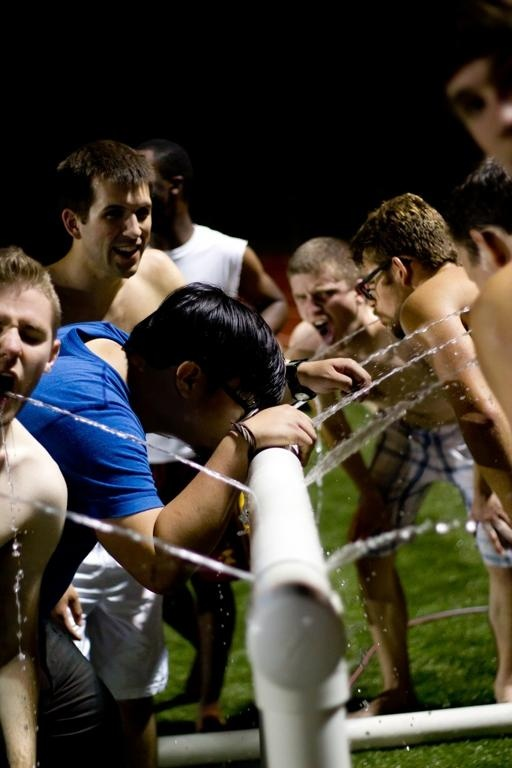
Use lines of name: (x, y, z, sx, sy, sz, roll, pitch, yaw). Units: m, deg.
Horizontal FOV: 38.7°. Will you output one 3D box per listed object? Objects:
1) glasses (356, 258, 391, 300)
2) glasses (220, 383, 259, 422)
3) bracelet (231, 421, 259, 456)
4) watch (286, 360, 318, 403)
glasses: (0.311, -0.284, 1.983, 0.091, 0.024, 0.087, -28, -3, -6)
glasses: (-0.022, 0.034, 1.348, 0.078, 0.062, 0.053, -4, 7, -16)
bracelet: (-0.012, 0.086, 1.173, 0.020, 0.049, 0.039, -42, 0, 7)
watch: (0.119, -0.007, 1.863, 0.068, 0.086, 0.098, -19, 13, 8)
